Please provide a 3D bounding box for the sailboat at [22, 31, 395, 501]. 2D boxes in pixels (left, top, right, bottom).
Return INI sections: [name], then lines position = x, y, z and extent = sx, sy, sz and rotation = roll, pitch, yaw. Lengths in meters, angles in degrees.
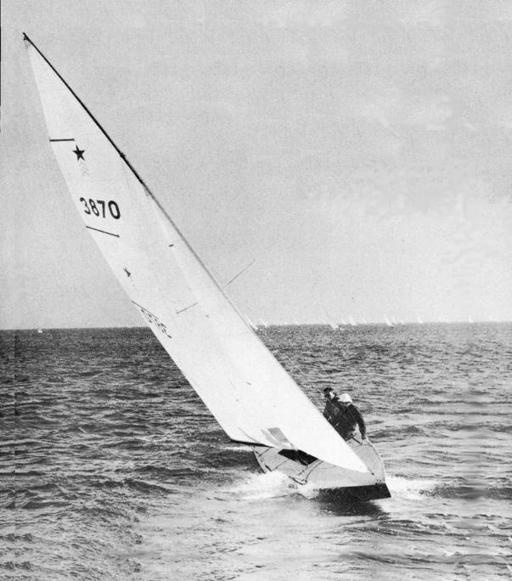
[sailboat]
position = -0.352, -0.050, 5.203
extent = 1.472, 2.777, 0.460
rotation = -6, -10, -37
